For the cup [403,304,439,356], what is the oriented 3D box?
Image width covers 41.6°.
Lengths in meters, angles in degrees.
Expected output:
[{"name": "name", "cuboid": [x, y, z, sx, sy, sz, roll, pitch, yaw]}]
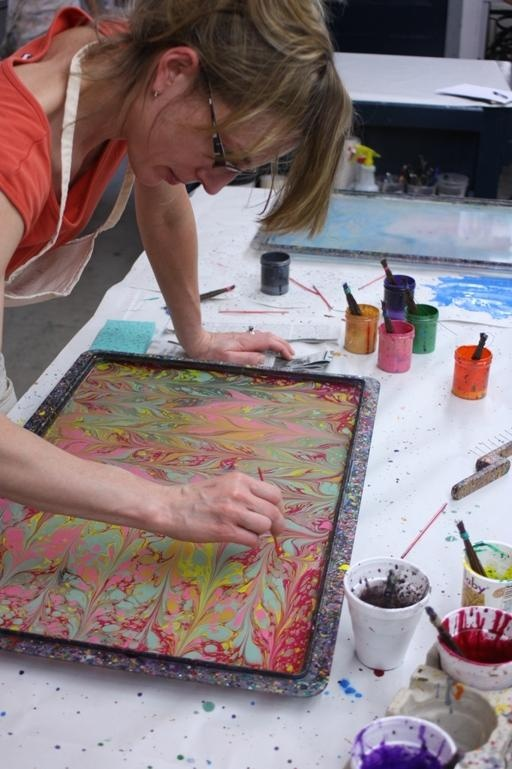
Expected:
[{"name": "cup", "cuboid": [0.470, -0.156, 1.925, 0.117, 0.153, 0.100, -7, 38, 0]}]

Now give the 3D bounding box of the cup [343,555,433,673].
[{"name": "cup", "cuboid": [0.174, 0.349, 1.111, 0.177, 0.163, 0.171, 0, 34, 0]}]

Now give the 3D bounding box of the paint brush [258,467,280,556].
[{"name": "paint brush", "cuboid": [0.025, 0.247, 1.307, 0.020, 0.156, 0.028, -12, -7, -43]}]

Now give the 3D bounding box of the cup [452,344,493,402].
[{"name": "cup", "cuboid": [0.563, -0.027, 1.747, 0.109, 0.139, 0.091, -12, 32, 0]}]

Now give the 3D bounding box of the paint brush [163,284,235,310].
[{"name": "paint brush", "cuboid": [-0.180, -0.270, 2.094, 0.268, 0.036, 0.037, -21, 64, -25]}]

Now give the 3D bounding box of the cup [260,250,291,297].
[{"name": "cup", "cuboid": [0.064, -0.382, 2.355, 0.143, 0.141, 0.134, 0, 38, 0]}]

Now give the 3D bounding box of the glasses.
[{"name": "glasses", "cuboid": [-0.053, -0.430, 1.167, 0.029, 0.100, 0.102, -5, -3, 22]}]

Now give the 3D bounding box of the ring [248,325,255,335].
[{"name": "ring", "cuboid": [-0.015, -0.167, 2.036, 0.025, 0.030, 0.075, 0, 2, 2]}]
